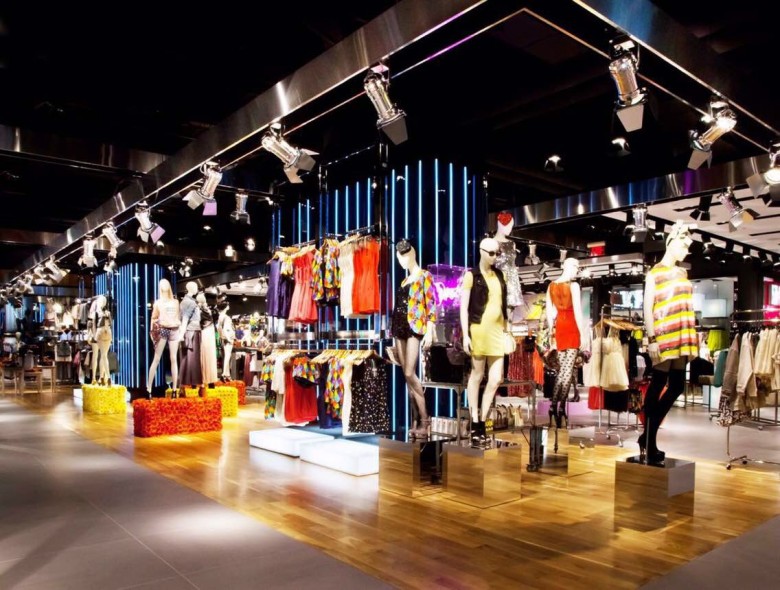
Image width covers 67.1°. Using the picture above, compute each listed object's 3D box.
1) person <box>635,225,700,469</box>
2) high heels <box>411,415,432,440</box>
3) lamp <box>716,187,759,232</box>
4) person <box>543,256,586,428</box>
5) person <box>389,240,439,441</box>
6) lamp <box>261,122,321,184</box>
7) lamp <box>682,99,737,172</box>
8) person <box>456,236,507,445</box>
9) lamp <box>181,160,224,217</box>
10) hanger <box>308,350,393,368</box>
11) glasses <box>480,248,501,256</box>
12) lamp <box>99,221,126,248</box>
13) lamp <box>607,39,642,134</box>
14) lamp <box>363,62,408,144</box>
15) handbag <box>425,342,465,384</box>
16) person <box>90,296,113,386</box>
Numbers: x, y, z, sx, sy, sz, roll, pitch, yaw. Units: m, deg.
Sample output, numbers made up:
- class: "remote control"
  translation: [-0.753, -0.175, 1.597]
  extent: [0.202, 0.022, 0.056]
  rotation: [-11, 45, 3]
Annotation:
- class: "person"
  translation: [2.236, 0.348, 4.735]
  extent: [0.403, 1.465, 0.595]
  rotation: [1, 0, 25]
- class: "high heels"
  translation: [0.270, 1.210, 5.329]
  extent: [0.187, 0.170, 0.408]
  rotation: [1, -1, 4]
- class: "lamp"
  translation: [4.047, -1.016, 6.894]
  extent: [0.357, 0.346, 0.672]
  rotation: [1, -1, 30]
- class: "person"
  translation: [1.887, 0.516, 6.371]
  extent: [0.436, 1.489, 0.403]
  rotation: [1, 0, 36]
- class: "person"
  translation: [0.203, 0.381, 5.483]
  extent: [0.405, 1.648, 0.388]
  rotation: [1, 0, 14]
- class: "lamp"
  translation: [-0.993, -1.403, 5.672]
  extent: [0.554, 0.419, 0.321]
  rotation: [29, -25, -33]
- class: "lamp"
  translation: [2.774, -1.402, 5.118]
  extent: [0.292, 0.404, 0.397]
  rotation: [1, 0, -6]
- class: "person"
  translation: [0.841, 0.386, 5.283]
  extent: [0.331, 1.564, 0.585]
  rotation: [1, 0, 44]
- class: "lamp"
  translation: [-2.073, -1.200, 6.587]
  extent: [0.304, 0.576, 0.775]
  rotation: [1, -1, -23]
- class: "hanger"
  translation: [-0.479, 0.658, 6.212]
  extent: [0.488, 0.124, 0.361]
  rotation: [-6, -8, 34]
- class: "glasses"
  translation: [0.917, -0.378, 5.224]
  extent: [0.237, 0.059, 0.107]
  rotation: [2, -1, -35]
- class: "lamp"
  translation: [-4.132, -0.868, 8.730]
  extent: [0.248, 0.429, 0.149]
  rotation: [-30, 27, -19]
- class: "lamp"
  translation: [1.820, -1.597, 4.518]
  extent: [0.241, 0.497, 0.548]
  rotation: [1, -1, 23]
- class: "lamp"
  translation: [-0.048, -1.576, 4.760]
  extent: [0.297, 0.503, 0.265]
  rotation: [-17, -3, -10]
- class: "handbag"
  translation: [0.496, 0.672, 5.557]
  extent: [0.228, 0.391, 0.435]
  rotation: [-3, -8, -17]
- class: "person"
  translation: [-5.386, 0.851, 10.917]
  extent: [0.337, 1.814, 1.365]
  rotation: [1, 0, -27]
